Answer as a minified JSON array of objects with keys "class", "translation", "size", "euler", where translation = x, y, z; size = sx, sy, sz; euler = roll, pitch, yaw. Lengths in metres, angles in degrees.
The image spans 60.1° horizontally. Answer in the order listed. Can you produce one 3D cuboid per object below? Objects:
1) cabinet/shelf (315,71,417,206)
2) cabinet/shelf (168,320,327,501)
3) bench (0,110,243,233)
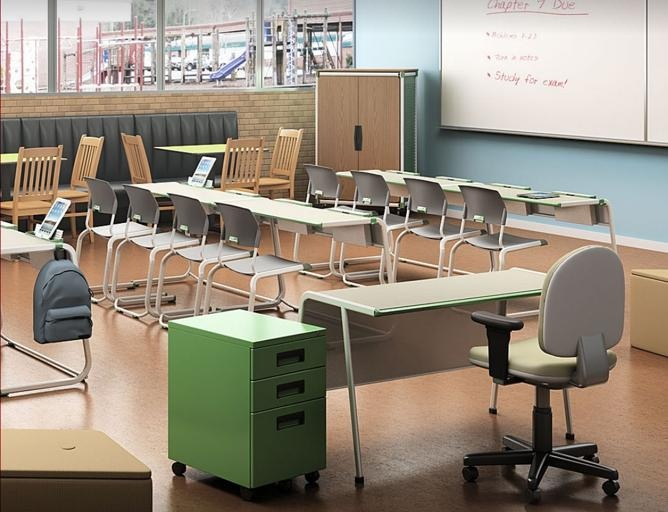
[{"class":"cabinet/shelf","translation":[0.386,-2.347,9.703],"size":[1.305,1.982,0.655],"euler":[-2,45,0]},{"class":"cabinet/shelf","translation":[-0.396,0.577,2.617],"size":[0.556,0.896,0.768],"euler":[-1,3,-45]},{"class":"bench","translation":[-3.127,-1.687,8.810],"size":[3.370,1.114,0.369],"euler":[-6,13,-28]}]
